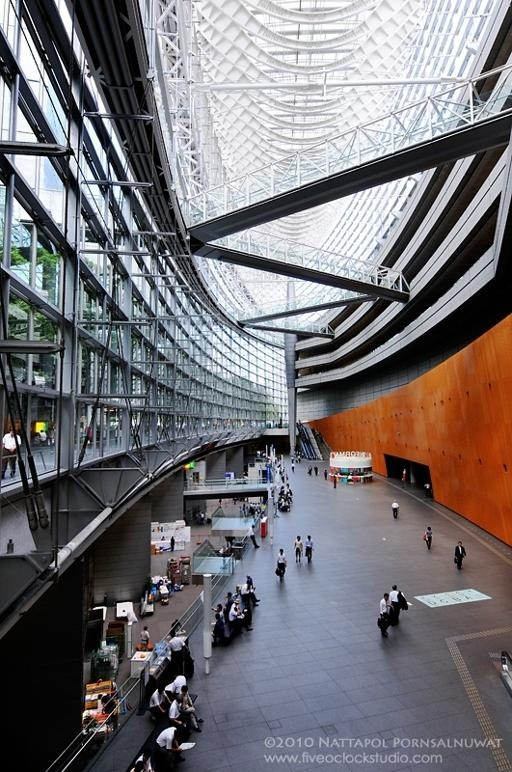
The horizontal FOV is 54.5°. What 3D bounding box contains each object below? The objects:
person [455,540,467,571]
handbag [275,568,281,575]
[{"bbox_3d":[5.574,4.588,13.555,0.229,0.703,0.836,-4,-10,21],"label":"person"},{"bbox_3d":[0.595,4.999,13.343,0.122,0.254,0.330,0,-9,2],"label":"handbag"}]
